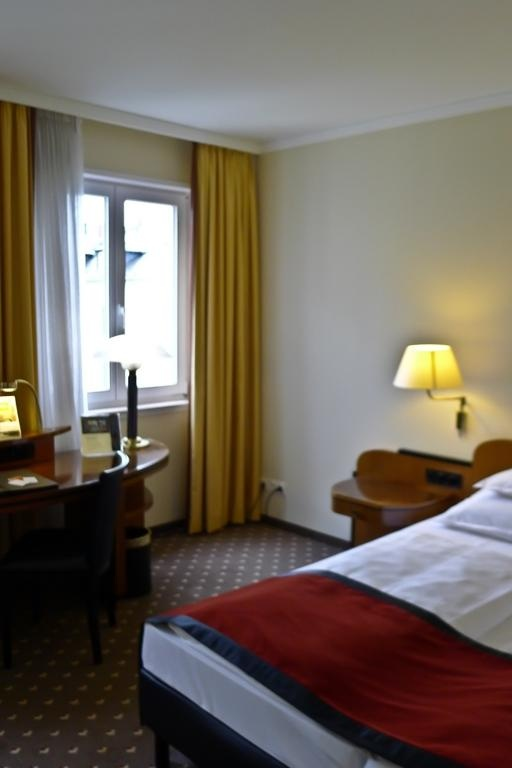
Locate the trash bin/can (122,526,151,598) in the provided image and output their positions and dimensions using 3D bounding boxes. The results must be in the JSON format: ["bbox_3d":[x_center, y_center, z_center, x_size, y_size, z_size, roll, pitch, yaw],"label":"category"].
[{"bbox_3d":[-0.590,0.882,3.003,0.146,0.269,0.154,-3,-1,-19],"label":"trash bin/can"}]

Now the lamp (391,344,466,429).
[{"bbox_3d":[0.850,0.024,3.006,0.336,0.466,0.310,-3,15,-1],"label":"lamp"}]

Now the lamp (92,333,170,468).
[{"bbox_3d":[-0.658,0.057,3.242,0.311,0.586,0.329,-5,5,-18],"label":"lamp"}]
